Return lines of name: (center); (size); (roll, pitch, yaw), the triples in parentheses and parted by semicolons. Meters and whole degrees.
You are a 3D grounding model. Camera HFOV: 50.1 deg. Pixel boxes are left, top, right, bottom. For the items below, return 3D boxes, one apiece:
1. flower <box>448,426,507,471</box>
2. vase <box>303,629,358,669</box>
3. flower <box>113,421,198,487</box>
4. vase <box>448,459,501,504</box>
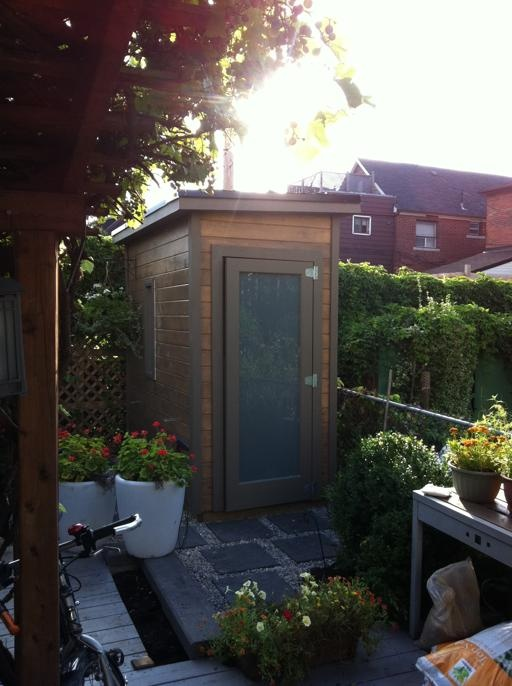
flower: (1.037, 0.495, 2.586); (0.235, 0.166, 0.212); (4, -4, -7)
vase: (0.325, 1.387, 2.480); (0.241, 0.154, 0.124); (-2, 8, -19)
flower: (-0.711, 0.816, 3.986); (0.541, 0.498, 0.593); (9, 1, 12)
vase: (1.010, 0.634, 2.526); (0.171, 0.109, 0.168); (4, -3, -36)
